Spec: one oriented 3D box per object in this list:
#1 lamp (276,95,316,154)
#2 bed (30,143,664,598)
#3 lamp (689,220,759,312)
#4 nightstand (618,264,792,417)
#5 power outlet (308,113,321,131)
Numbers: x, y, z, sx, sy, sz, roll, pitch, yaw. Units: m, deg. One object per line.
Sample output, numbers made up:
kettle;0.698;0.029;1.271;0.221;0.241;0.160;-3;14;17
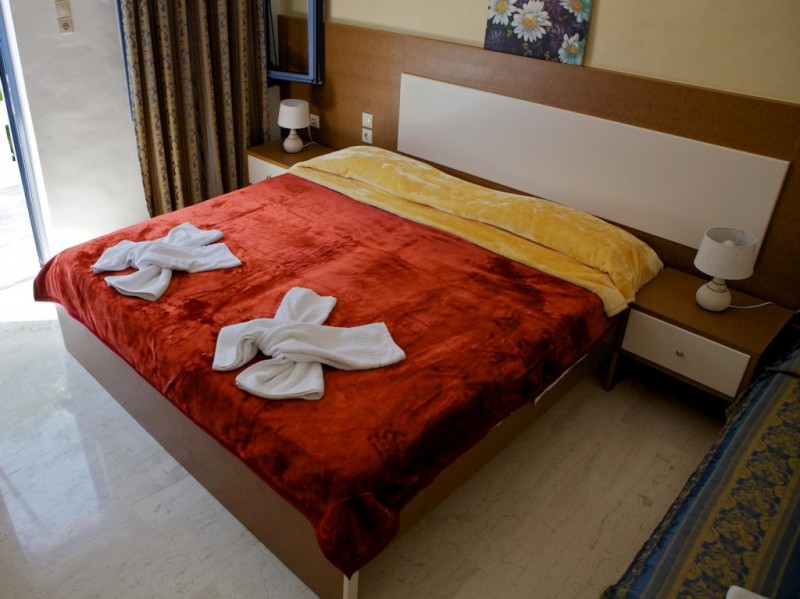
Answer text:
lamp;-0.776;-1.327;4.260;0.282;0.424;0.292;23;47;11
bed;0.104;0.041;2.651;2.151;0.561;2.171;31;47;31
lamp;1.580;-0.148;2.787;0.240;0.369;0.280;20;36;26
nightstand;1.537;0.114;2.873;0.739;0.475;0.544;28;46;35
power outlet;-0.656;-1.376;4.344;0.151;0.164;0.016;9;28;37
